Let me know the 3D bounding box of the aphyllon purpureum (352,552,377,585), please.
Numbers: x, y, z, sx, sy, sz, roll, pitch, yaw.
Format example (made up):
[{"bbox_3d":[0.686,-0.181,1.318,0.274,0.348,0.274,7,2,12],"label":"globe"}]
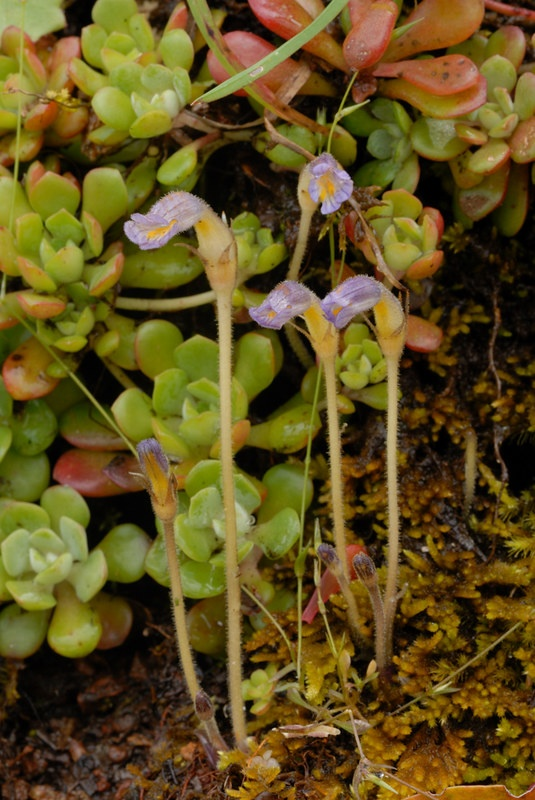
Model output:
[{"bbox_3d":[0.151,0.265,1.222,0.037,0.055,0.024,-13,13,39],"label":"aphyllon purpureum"}]

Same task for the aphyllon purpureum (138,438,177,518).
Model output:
[{"bbox_3d":[-0.169,0.122,1.190,0.052,0.127,0.033,-15,24,2],"label":"aphyllon purpureum"}]

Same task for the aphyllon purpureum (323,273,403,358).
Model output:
[{"bbox_3d":[0.158,-0.129,1.253,0.114,0.140,0.065,-33,34,2],"label":"aphyllon purpureum"}]

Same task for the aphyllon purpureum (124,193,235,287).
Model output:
[{"bbox_3d":[-0.135,-0.242,1.233,0.168,0.152,0.099,-10,48,-9],"label":"aphyllon purpureum"}]
